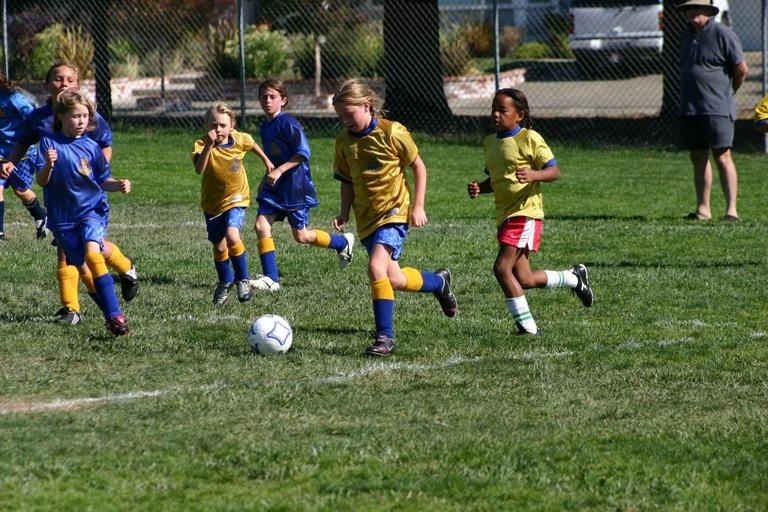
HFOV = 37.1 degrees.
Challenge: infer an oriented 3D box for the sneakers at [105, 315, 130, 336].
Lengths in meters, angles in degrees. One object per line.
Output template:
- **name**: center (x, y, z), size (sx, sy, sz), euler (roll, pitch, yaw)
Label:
- **sneakers**: center (-2.096, 0.558, 9.095), size (0.101, 0.111, 0.244), euler (-4, 8, -39)

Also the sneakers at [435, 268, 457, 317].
- **sneakers**: center (0.505, 0.326, 9.531), size (0.146, 0.428, 0.181), euler (-2, 17, 42)

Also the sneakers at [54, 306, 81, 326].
- **sneakers**: center (-2.616, 0.517, 9.522), size (0.235, 0.111, 0.110), euler (7, -5, -17)

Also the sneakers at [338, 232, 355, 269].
- **sneakers**: center (-0.378, -0.063, 10.981), size (0.121, 0.342, 0.162), euler (13, 19, 35)

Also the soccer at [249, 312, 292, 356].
- **soccer**: center (-0.831, 0.567, 9.046), size (0.316, 0.261, 0.319), euler (24, 23, 9)

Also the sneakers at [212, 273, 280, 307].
- **sneakers**: center (-1.204, 0.283, 10.211), size (0.666, 0.282, 0.217), euler (2, -7, -33)

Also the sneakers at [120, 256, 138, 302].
- **sneakers**: center (-2.177, 0.200, 9.777), size (0.137, 0.388, 0.180), euler (-2, 13, 17)

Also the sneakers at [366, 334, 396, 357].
- **sneakers**: center (-0.016, 0.699, 8.924), size (0.109, 0.101, 0.242), euler (-5, -8, 40)

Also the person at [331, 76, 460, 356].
- **person**: center (0.041, -0.334, 9.058), size (0.855, 2.116, 0.697), euler (-3, 8, -3)

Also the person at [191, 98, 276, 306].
- **person**: center (-1.356, -0.501, 10.253), size (0.626, 1.760, 0.668), euler (-3, 8, -7)

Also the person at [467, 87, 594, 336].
- **person**: center (1.133, -0.232, 9.382), size (0.704, 1.647, 0.778), euler (1, 8, 19)

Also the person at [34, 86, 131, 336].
- **person**: center (-2.373, -0.343, 9.148), size (0.682, 1.961, 0.472), euler (-4, 8, -10)
